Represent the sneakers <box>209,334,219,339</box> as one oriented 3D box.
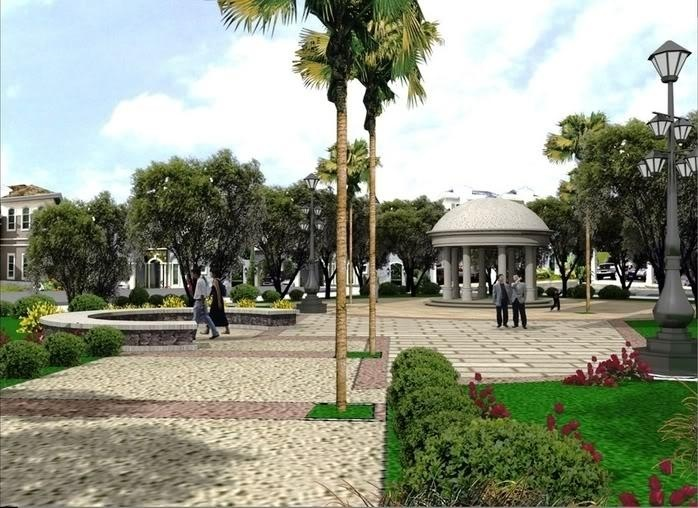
[{"bbox_3d":[-4.177,2.559,18.993,0.132,0.173,0.381,-6,3,-35],"label":"sneakers"}]
